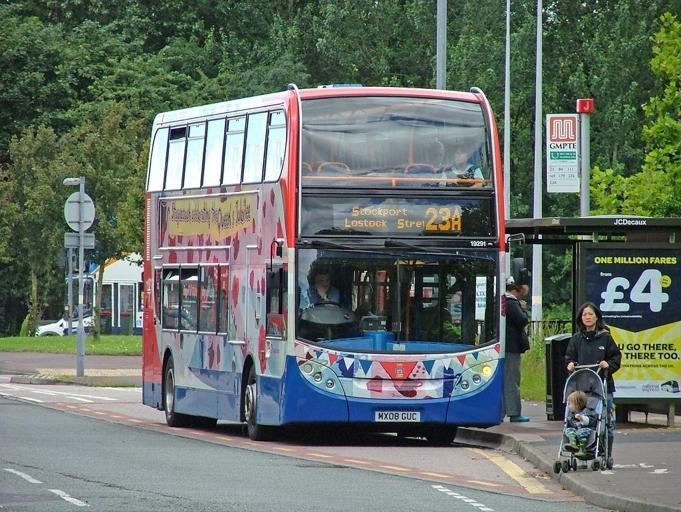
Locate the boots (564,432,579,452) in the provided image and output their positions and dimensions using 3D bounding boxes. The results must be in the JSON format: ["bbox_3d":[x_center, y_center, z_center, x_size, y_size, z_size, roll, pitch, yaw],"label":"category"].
[{"bbox_3d":[3.270,2.660,20.344,0.263,0.296,0.160,2,-40,5],"label":"boots"}]

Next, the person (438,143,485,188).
[{"bbox_3d":[2.018,-1.358,23.825,0.795,1.040,0.529,0,-6,-10],"label":"person"}]

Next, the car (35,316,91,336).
[{"bbox_3d":[-11.510,2.996,59.866,2.249,1.354,1.535,1,-4,-9],"label":"car"}]

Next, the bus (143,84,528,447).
[{"bbox_3d":[-0.566,0.098,24.757,6.643,6.003,2.990,-2,-2,45],"label":"bus"}]

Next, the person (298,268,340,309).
[{"bbox_3d":[-0.263,0.643,23.082,0.714,0.761,0.406,1,-14,-12],"label":"person"}]

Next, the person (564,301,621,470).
[{"bbox_3d":[3.699,1.977,21.076,0.764,2.454,0.787,6,17,37],"label":"person"}]

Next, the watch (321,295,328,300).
[{"bbox_3d":[-0.224,0.692,22.955,0.105,0.086,0.012,-1,-1,-4],"label":"watch"}]
